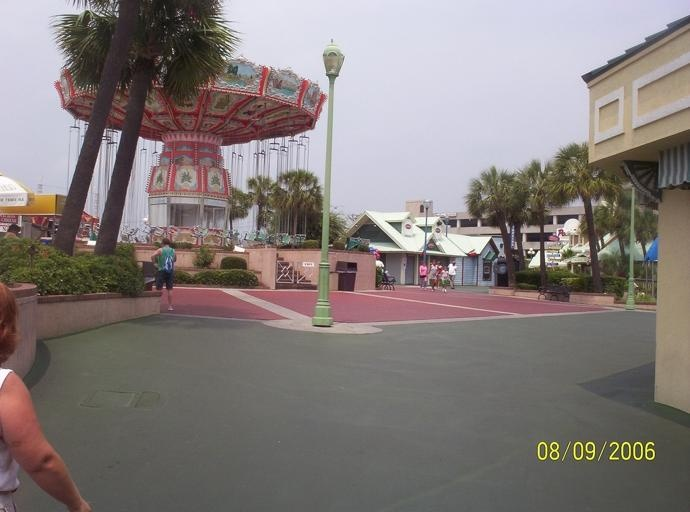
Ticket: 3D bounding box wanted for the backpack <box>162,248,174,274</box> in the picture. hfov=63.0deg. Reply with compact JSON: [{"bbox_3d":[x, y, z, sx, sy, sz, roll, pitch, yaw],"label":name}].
[{"bbox_3d":[-4.737,0.095,15.013,0.361,0.653,0.277,0,2,-31],"label":"backpack"}]
